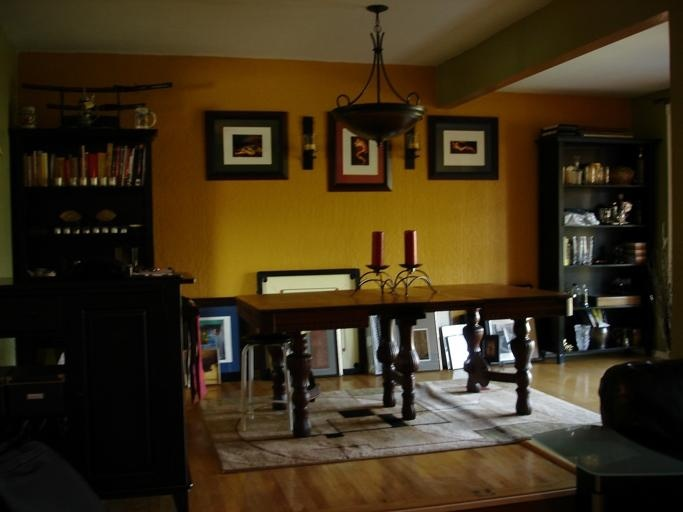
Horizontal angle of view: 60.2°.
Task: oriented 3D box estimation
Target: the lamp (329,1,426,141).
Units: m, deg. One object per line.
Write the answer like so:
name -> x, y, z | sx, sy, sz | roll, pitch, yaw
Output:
lamp -> 0.258, -1.365, 4.758 | 0.736, 1.056, 2.426 | -1, 6, 5

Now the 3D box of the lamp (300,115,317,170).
lamp -> -0.316, -1.092, 5.672 | 0.137, 0.511, 0.139 | -2, 6, -8

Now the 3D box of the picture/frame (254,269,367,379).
picture/frame -> -0.286, 0.573, 4.785 | 1.029, 1.043, 0.134 | 0, -5, -15

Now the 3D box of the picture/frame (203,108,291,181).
picture/frame -> -0.936, -1.060, 5.568 | 0.691, 0.590, 0.058 | -1, 4, -10

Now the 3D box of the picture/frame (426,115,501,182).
picture/frame -> 1.215, -1.116, 6.067 | 0.695, 0.606, 0.054 | 0, 2, -8

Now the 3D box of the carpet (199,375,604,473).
carpet -> 0.364, 1.227, 4.466 | 2.752, 0.070, 1.306 | -2, 6, -12

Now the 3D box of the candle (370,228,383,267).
candle -> 0.252, -0.042, 4.203 | 0.068, 0.253, 0.091 | 0, 6, 11

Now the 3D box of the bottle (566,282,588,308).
bottle -> 2.506, 0.408, 6.270 | 0.228, 0.205, 0.519 | 1, 6, 22

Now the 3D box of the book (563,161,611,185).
book -> 2.511, -0.864, 6.177 | 0.629, 0.242, 0.272 | -4, 6, -24

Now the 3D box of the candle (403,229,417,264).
candle -> 0.496, -0.057, 4.228 | 0.077, 0.240, 0.245 | 0, 6, 10

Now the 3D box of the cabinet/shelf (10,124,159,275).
cabinet/shelf -> -2.157, -0.470, 4.842 | 1.256, 1.477, 0.389 | -1, 2, -22

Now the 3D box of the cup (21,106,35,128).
cup -> -2.555, -1.131, 4.814 | 0.105, 0.171, 0.093 | -6, 7, -40

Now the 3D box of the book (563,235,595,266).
book -> 2.465, -0.055, 6.176 | 0.307, 0.270, 0.163 | 0, -7, -23

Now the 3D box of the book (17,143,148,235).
book -> -2.203, -0.578, 4.931 | 0.741, 0.612, 0.259 | -1, 27, -12

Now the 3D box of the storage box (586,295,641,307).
storage box -> 2.880, 0.471, 6.238 | 0.617, 0.118, 0.152 | -2, 6, -14
